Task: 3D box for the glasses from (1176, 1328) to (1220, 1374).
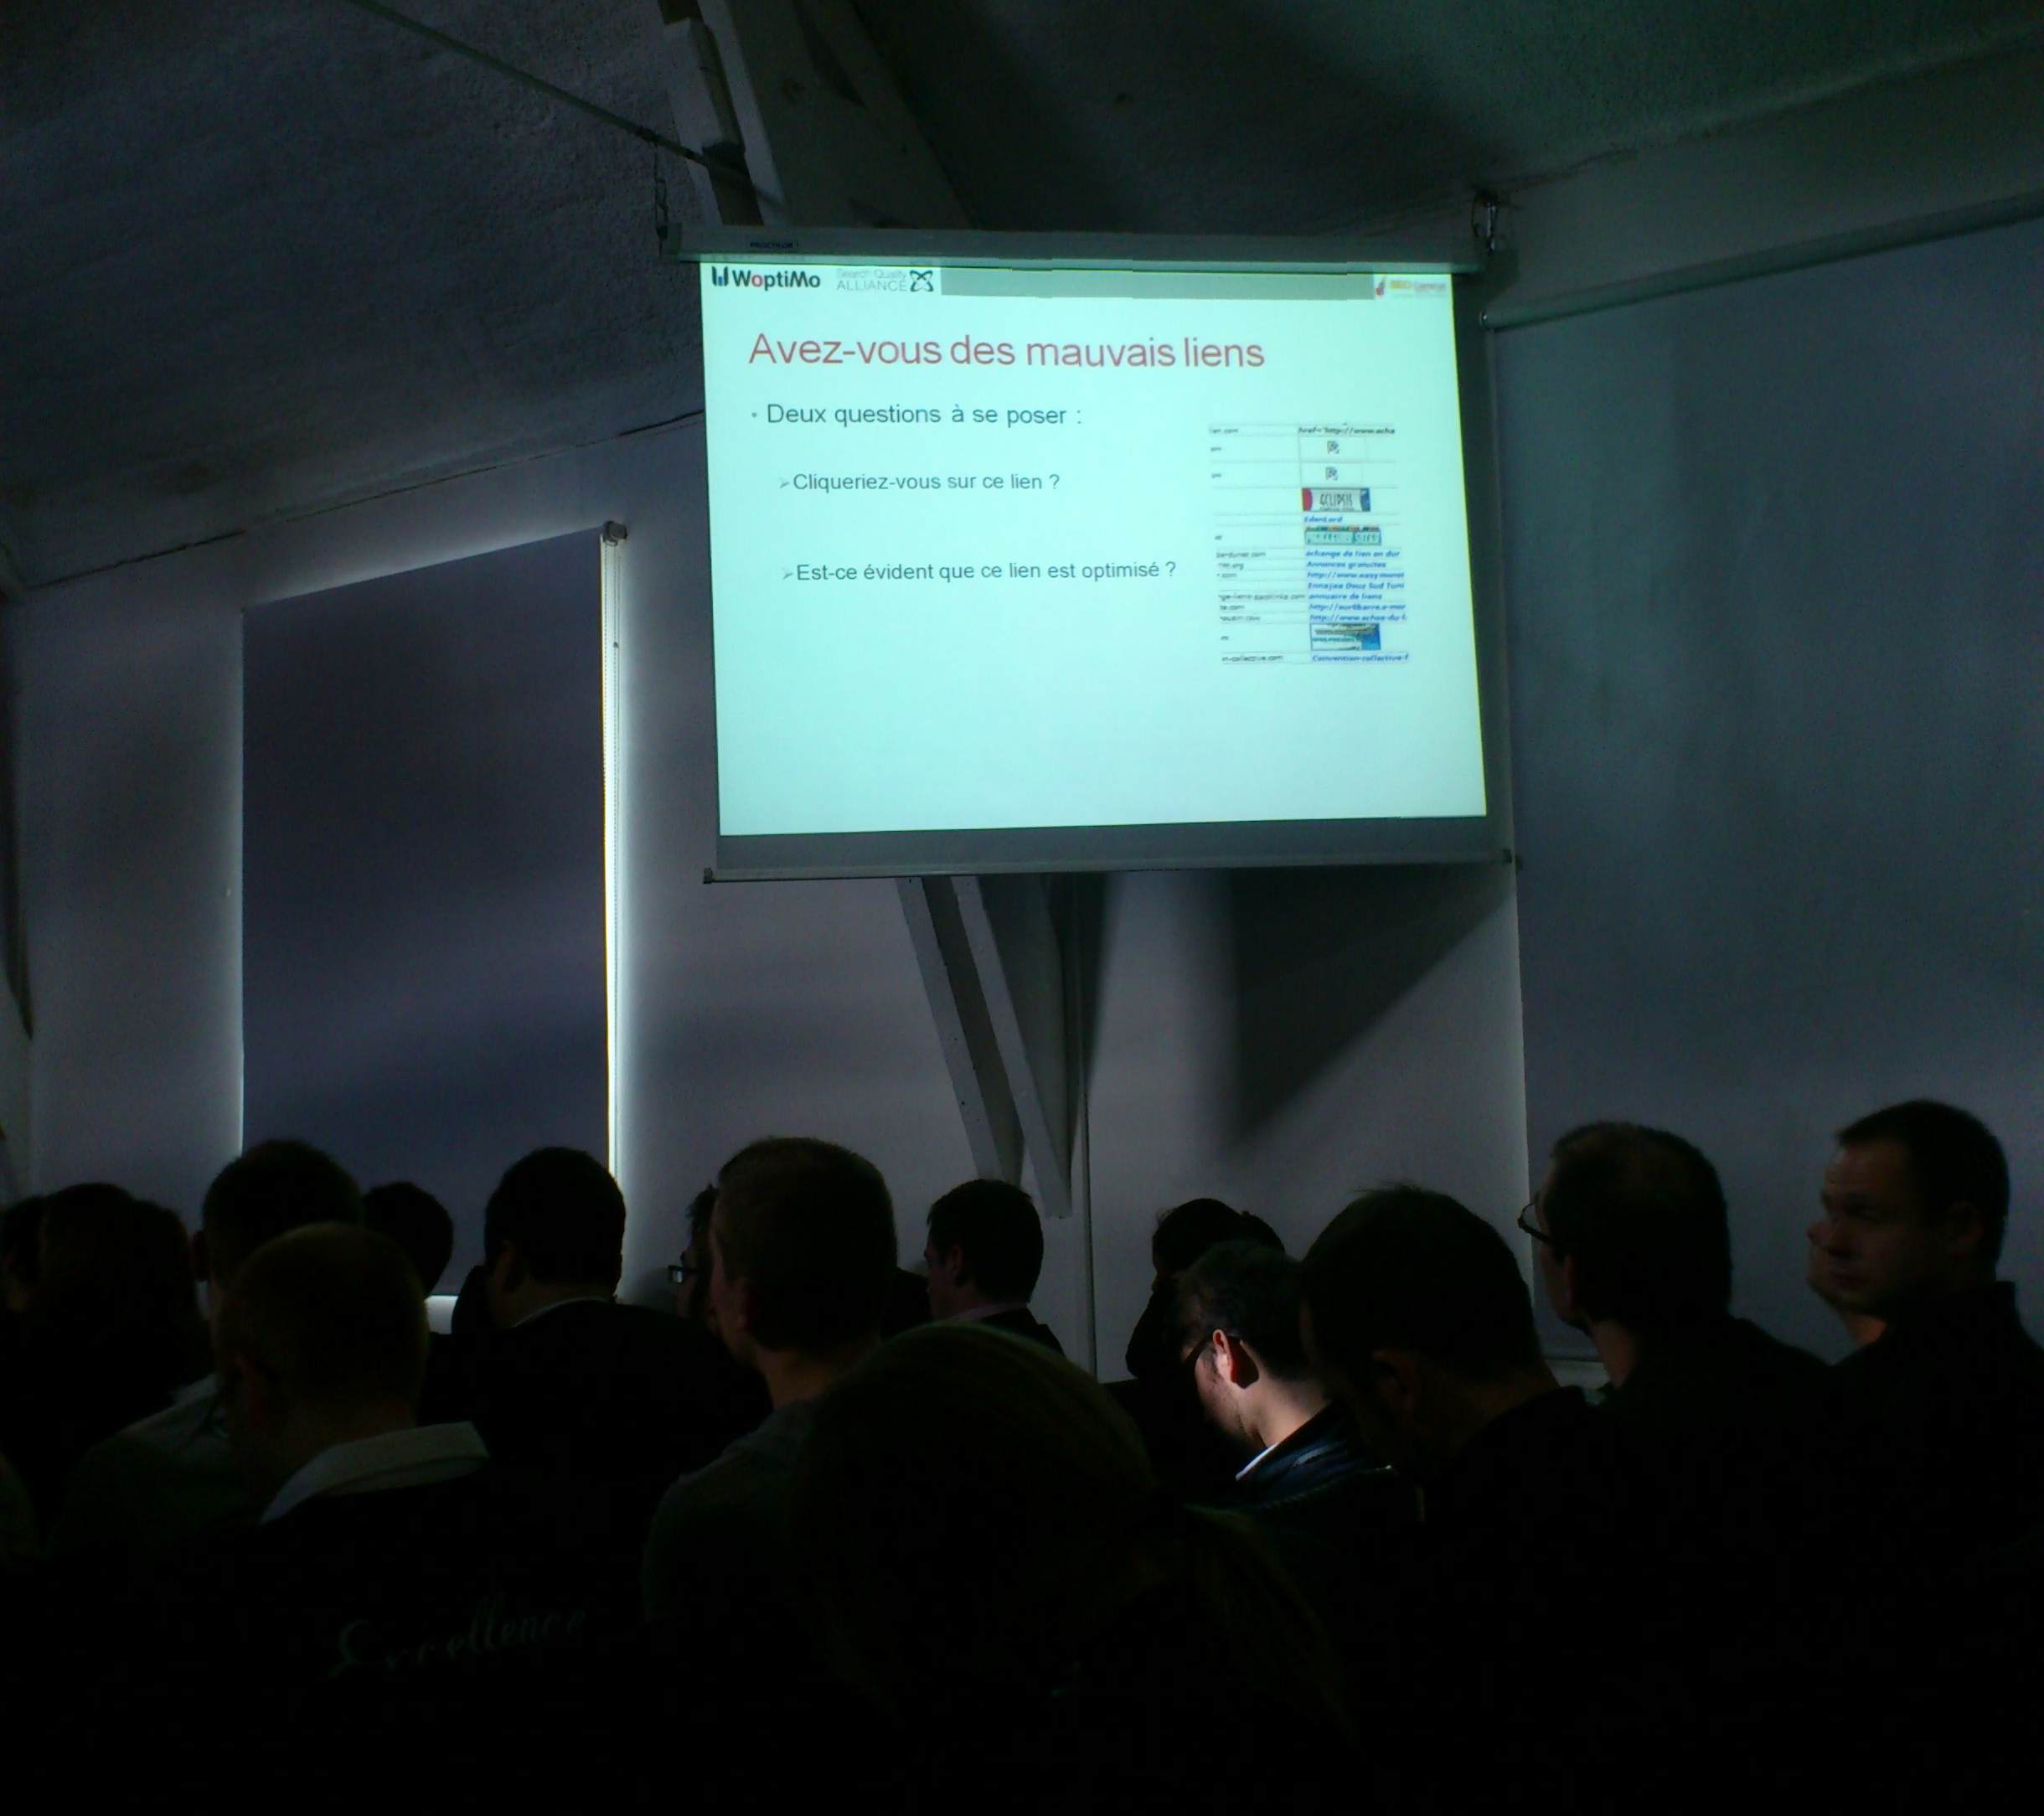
[{"bbox_3d":[0.188,0.467,2.057,0.037,0.049,0.052,-1,14,8],"label":"glasses"}]
